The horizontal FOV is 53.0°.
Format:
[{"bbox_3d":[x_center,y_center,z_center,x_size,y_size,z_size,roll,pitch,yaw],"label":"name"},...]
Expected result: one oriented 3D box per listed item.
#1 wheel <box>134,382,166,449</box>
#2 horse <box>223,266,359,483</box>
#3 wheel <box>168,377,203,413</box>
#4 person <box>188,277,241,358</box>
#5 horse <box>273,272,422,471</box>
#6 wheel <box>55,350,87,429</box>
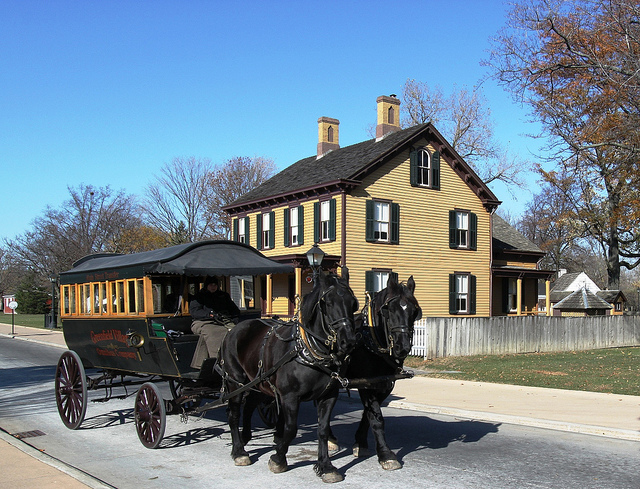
[{"bbox_3d":[-3.138,3.147,11.997,0.323,1.217,0.995,3,-8,-37],"label":"wheel"},{"bbox_3d":[-0.480,2.163,10.738,0.959,3.336,2.904,4,-9,-39],"label":"horse"},{"bbox_3d":[-2.728,2.889,12.864,0.604,0.633,2.049,0,-8,-16],"label":"wheel"},{"bbox_3d":[-2.089,1.414,13.012,0.565,1.513,0.795,1,-2,-34],"label":"person"},{"bbox_3d":[0.562,2.464,12.308,1.185,3.050,4.241,9,-15,-28],"label":"horse"},{"bbox_3d":[-5.306,3.069,13.755,0.668,1.562,1.497,1,1,-33],"label":"wheel"}]
